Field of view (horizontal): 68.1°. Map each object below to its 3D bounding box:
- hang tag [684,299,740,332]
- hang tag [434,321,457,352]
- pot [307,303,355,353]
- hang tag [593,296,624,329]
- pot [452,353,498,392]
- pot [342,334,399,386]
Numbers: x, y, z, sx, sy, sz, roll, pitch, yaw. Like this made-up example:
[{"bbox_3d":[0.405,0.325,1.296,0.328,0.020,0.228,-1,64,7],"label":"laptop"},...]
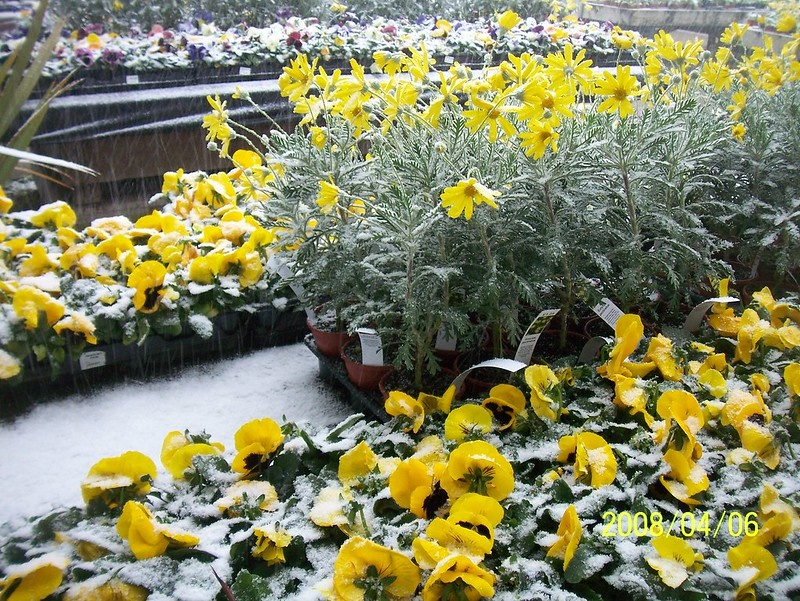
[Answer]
[{"bbox_3d":[1.168,0.052,2.202,0.055,0.094,0.067,29,31,-5],"label":"hang tag"},{"bbox_3d":[0.168,0.132,2.161,0.088,0.091,0.161,-3,-6,5],"label":"hang tag"},{"bbox_3d":[-0.275,0.130,2.431,0.193,0.119,0.190,2,34,-1],"label":"pot"},{"bbox_3d":[0.726,0.038,2.034,0.068,0.132,0.027,-45,19,-11],"label":"hang tag"},{"bbox_3d":[0.263,0.251,2.053,0.219,0.059,0.128,-3,-29,16],"label":"pot"},{"bbox_3d":[-0.130,0.220,2.198,0.158,0.077,0.157,5,30,-3],"label":"pot"}]
